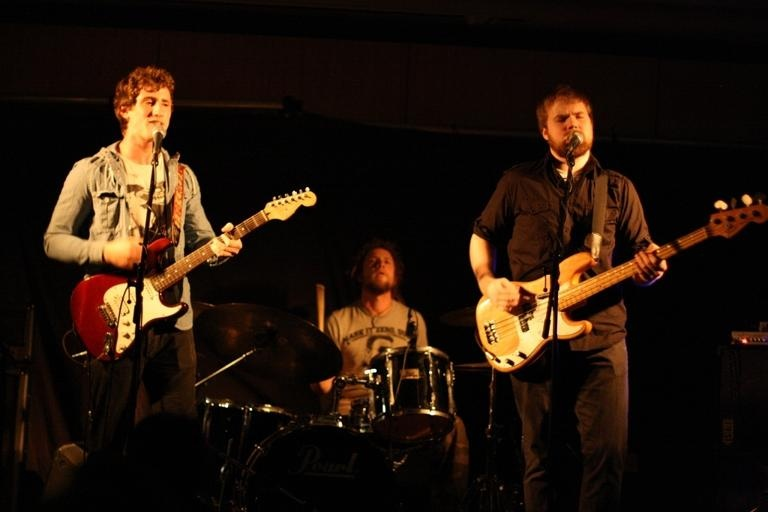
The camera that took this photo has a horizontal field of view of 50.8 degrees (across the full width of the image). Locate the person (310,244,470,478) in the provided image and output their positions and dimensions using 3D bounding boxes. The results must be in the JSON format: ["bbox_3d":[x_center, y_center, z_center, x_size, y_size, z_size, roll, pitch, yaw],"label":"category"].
[{"bbox_3d":[-0.031,0.878,6.734,1.095,1.910,1.031,-1,-4,-21],"label":"person"}]

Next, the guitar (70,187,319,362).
[{"bbox_3d":[-1.689,0.167,6.407,1.524,1.375,0.235,4,-1,-13],"label":"guitar"}]

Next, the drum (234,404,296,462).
[{"bbox_3d":[-0.945,1.368,6.520,0.486,0.384,0.394,3,13,-5],"label":"drum"}]

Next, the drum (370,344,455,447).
[{"bbox_3d":[0.238,1.087,6.378,0.688,0.553,0.723,-1,-31,0],"label":"drum"}]
